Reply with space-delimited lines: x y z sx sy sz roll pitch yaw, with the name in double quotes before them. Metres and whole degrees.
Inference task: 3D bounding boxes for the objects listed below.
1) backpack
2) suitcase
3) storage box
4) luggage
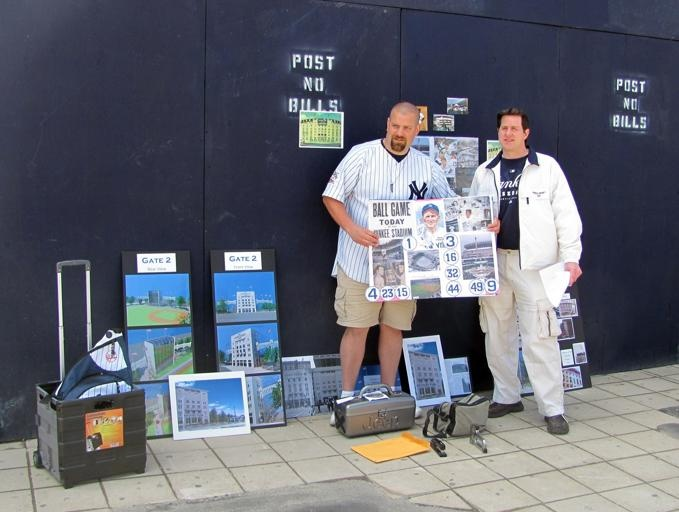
"backpack" -1.594 0.674 3.927 0.463 0.513 0.306 -2 2 -28
"suitcase" 0.253 1.112 4.508 0.578 0.348 0.235 -5 2 -18
"storage box" -1.535 1.036 3.813 0.548 0.514 0.555 -1 5 -32
"luggage" -1.563 0.746 3.825 0.531 1.106 0.511 1 14 -34
